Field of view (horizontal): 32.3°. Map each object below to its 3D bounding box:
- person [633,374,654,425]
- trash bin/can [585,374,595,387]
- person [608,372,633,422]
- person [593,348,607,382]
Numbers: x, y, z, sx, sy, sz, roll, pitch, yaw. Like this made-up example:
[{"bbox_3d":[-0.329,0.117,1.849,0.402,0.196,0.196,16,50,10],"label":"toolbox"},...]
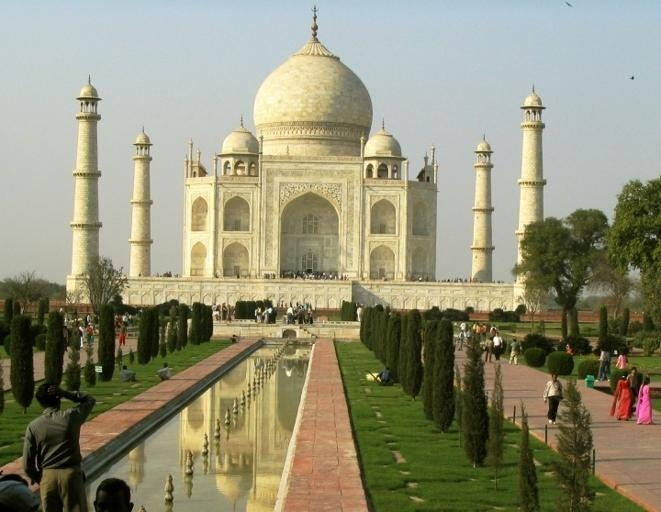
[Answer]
[{"bbox_3d":[5.227,2.353,18.848,0.282,0.779,1.293,-2,-2,15],"label":"person"},{"bbox_3d":[5.243,2.486,22.799,0.200,0.285,0.192,2,8,7],"label":"trash bin/can"},{"bbox_3d":[4.928,2.355,19.171,0.380,0.729,0.965,-2,-2,14],"label":"person"},{"bbox_3d":[5.767,2.312,23.868,0.246,0.592,0.910,-1,-2,14],"label":"person"}]
